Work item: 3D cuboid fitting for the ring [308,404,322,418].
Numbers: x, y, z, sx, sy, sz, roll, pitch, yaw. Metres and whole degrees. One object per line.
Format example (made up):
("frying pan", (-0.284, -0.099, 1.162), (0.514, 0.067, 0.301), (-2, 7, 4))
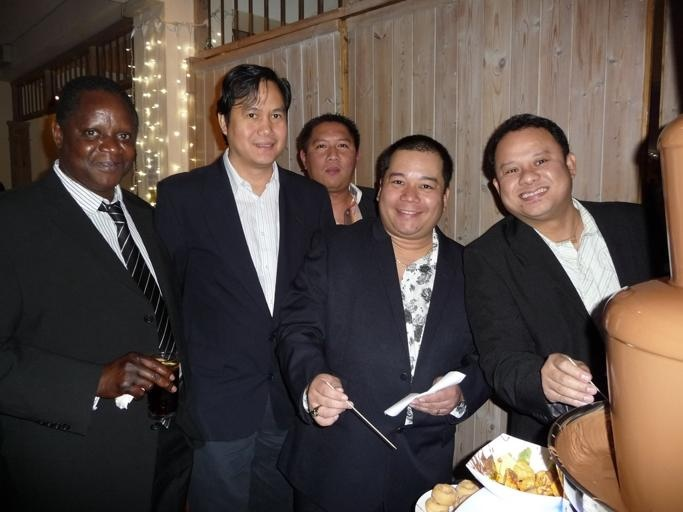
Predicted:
("ring", (-0.095, 0.563, 1.865), (0.012, 0.052, 0.048), (22, -32, -28))

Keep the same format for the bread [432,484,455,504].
("bread", (0.325, 0.754, 1.634), (0.048, 0.022, 0.052), (1, 26, 4))

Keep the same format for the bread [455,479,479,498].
("bread", (0.417, 0.766, 1.703), (0.044, 0.031, 0.047), (-5, -9, 29))
